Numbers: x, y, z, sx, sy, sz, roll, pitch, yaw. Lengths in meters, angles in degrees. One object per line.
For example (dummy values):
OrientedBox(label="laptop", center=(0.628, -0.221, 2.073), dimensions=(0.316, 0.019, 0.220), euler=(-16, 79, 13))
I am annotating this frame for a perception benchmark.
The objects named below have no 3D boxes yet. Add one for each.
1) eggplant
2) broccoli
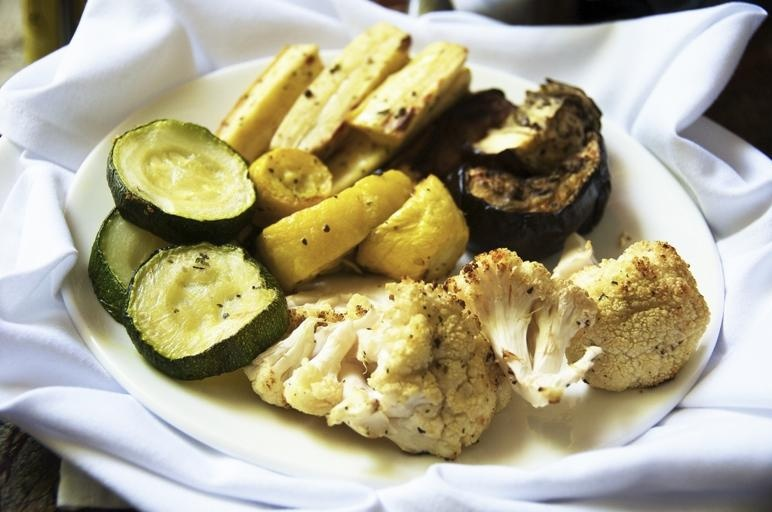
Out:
OrientedBox(label="eggplant", center=(0.399, -0.248, 2.136), dimensions=(0.461, 0.212, 0.536), euler=(5, 71, 7))
OrientedBox(label="broccoli", center=(0.235, 0.235, 1.832), dimensions=(1.163, 0.238, 0.473), euler=(-7, 69, -1))
